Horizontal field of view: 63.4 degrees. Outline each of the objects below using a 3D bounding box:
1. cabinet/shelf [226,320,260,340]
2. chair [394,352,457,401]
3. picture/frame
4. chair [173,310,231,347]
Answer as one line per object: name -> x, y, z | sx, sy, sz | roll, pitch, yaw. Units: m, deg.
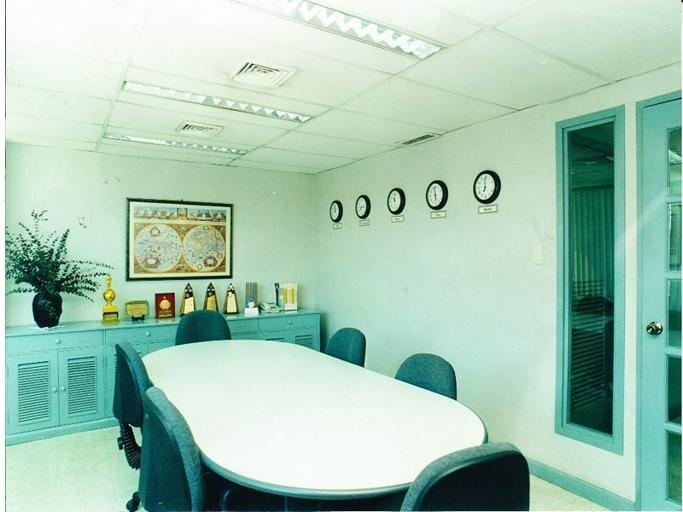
cabinet/shelf -> -1.051, 0.734, 5.886 | 0.191, 0.277, 0.279 | -2, -4, 44
chair -> 0.583, 0.805, 3.848 | 0.317, 0.484, 0.346 | -3, -9, 26
picture/frame -> -1.798, -0.190, 5.937 | 0.893, 0.691, 0.032 | 1, -1, -38
chair -> -1.276, 0.620, 5.093 | 0.340, 0.502, 0.334 | 1, -2, -24
